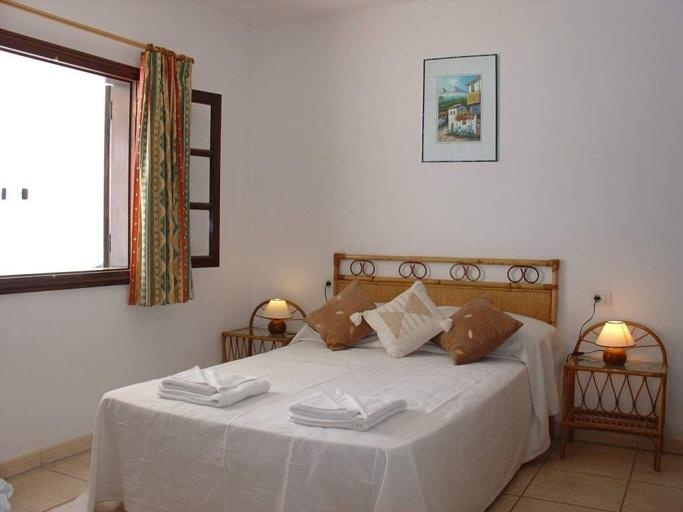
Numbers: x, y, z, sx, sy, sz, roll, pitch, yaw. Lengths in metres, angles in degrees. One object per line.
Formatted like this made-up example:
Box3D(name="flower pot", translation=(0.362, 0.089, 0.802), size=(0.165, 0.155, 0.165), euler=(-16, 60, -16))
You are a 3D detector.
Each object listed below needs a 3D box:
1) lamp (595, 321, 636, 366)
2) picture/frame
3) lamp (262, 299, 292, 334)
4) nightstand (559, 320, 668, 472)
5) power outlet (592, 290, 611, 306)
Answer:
Box3D(name="lamp", translation=(1.919, 0.628, 3.717), size=(0.258, 0.340, 0.281), euler=(-1, 2, -2))
Box3D(name="picture/frame", translation=(0.954, -1.192, 4.165), size=(0.590, 0.903, 0.026), euler=(0, -11, 6))
Box3D(name="lamp", translation=(-0.562, 0.539, 4.536), size=(0.252, 0.331, 0.260), euler=(7, 8, 35))
Box3D(name="nightstand", translation=(1.971, 0.953, 3.766), size=(0.619, 1.117, 0.393), euler=(0, 12, 17))
Box3D(name="power outlet", translation=(1.945, 0.301, 3.853), size=(0.152, 0.167, 0.082), euler=(1, 3, 35))
